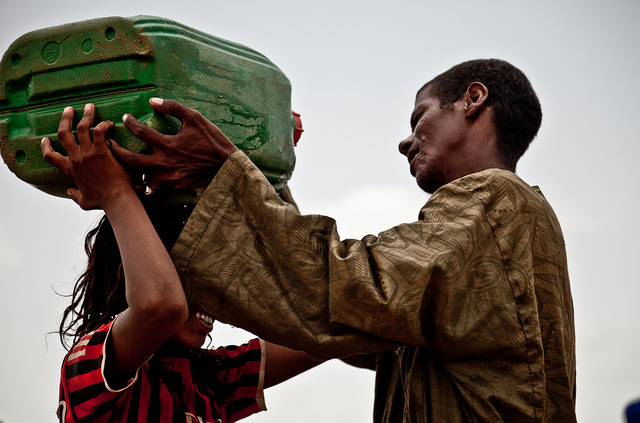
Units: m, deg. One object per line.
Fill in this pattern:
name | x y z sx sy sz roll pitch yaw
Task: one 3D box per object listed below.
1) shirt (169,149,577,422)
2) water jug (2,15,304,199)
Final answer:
shirt | 0.339 0.535 4.627 1.400 1.247 1.152 -3 -14 10
water jug | -0.739 -0.501 4.575 1.170 0.660 0.868 8 -11 -36
